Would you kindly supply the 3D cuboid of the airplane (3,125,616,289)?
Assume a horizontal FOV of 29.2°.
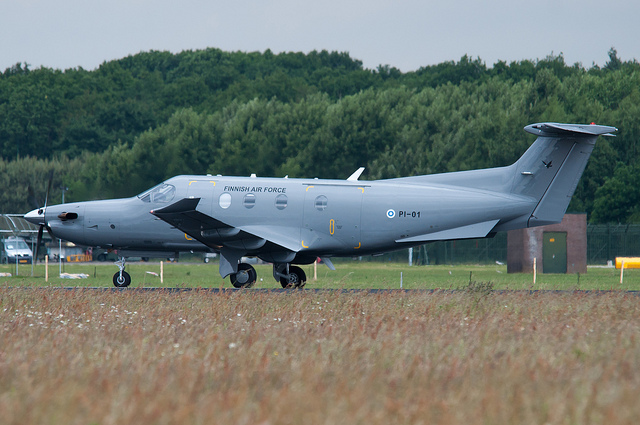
[{"bbox_3d":[1.009,-0.363,115.053,70.127,21.375,17.751,1,-2,-1],"label":"airplane"}]
